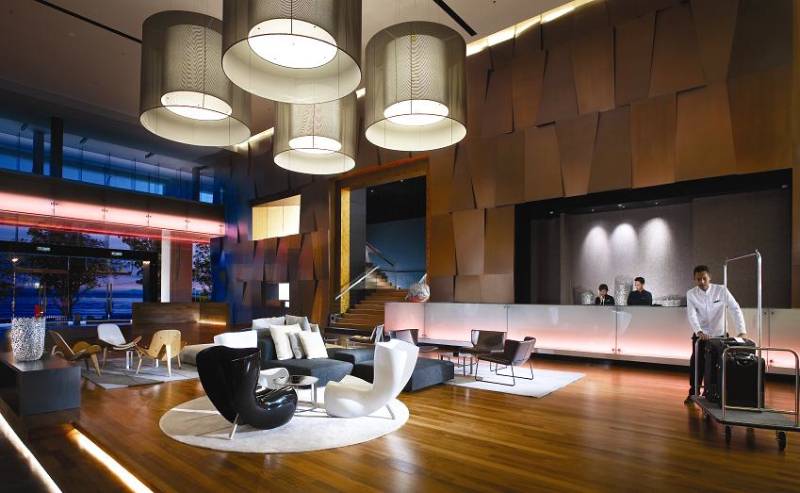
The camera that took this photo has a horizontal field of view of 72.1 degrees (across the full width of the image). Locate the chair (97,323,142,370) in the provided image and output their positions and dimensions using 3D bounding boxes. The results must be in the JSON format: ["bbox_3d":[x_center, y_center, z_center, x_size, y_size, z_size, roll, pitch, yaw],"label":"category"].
[{"bbox_3d":[-6.839,2.468,13.374,0.894,1.075,1.027,-5,-5,39],"label":"chair"}]

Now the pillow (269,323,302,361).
[{"bbox_3d":[-2.347,1.997,11.264,0.319,0.526,0.625,-43,-25,22],"label":"pillow"}]

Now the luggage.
[{"bbox_3d":[5.473,2.092,8.963,0.980,1.279,1.061,0,-6,6],"label":"luggage"}]

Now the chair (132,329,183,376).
[{"bbox_3d":[-5.314,2.330,12.253,0.913,0.929,1.048,5,-9,-39],"label":"chair"}]

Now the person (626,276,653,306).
[{"bbox_3d":[5.703,1.067,13.042,0.450,0.747,0.530,14,-15,-39],"label":"person"}]

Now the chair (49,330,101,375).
[{"bbox_3d":[-6.972,2.272,11.839,0.846,0.977,0.949,2,3,36],"label":"chair"}]

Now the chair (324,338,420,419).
[{"bbox_3d":[-0.514,2.358,9.627,1.419,1.237,1.050,0,-10,21],"label":"chair"}]

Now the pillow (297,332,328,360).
[{"bbox_3d":[-1.783,1.993,11.227,0.186,0.539,0.596,-34,-15,33],"label":"pillow"}]

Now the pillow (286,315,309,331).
[{"bbox_3d":[-2.260,1.686,12.018,0.492,0.329,0.172,5,0,32],"label":"pillow"}]

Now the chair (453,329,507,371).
[{"bbox_3d":[1.719,2.283,12.084,0.887,0.931,1.034,-8,-14,41],"label":"chair"}]

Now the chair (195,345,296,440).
[{"bbox_3d":[-2.352,2.363,9.243,1.380,1.301,1.076,6,-3,-34],"label":"chair"}]

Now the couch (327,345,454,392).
[{"bbox_3d":[0.028,2.412,10.926,1.383,0.565,1.022,-6,-12,43],"label":"couch"}]

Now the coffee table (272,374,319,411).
[{"bbox_3d":[-1.717,2.619,9.868,0.582,0.404,0.588,-4,-7,39],"label":"coffee table"}]

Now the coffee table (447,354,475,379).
[{"bbox_3d":[1.443,2.694,12.362,0.471,0.341,0.417,1,2,31],"label":"coffee table"}]
